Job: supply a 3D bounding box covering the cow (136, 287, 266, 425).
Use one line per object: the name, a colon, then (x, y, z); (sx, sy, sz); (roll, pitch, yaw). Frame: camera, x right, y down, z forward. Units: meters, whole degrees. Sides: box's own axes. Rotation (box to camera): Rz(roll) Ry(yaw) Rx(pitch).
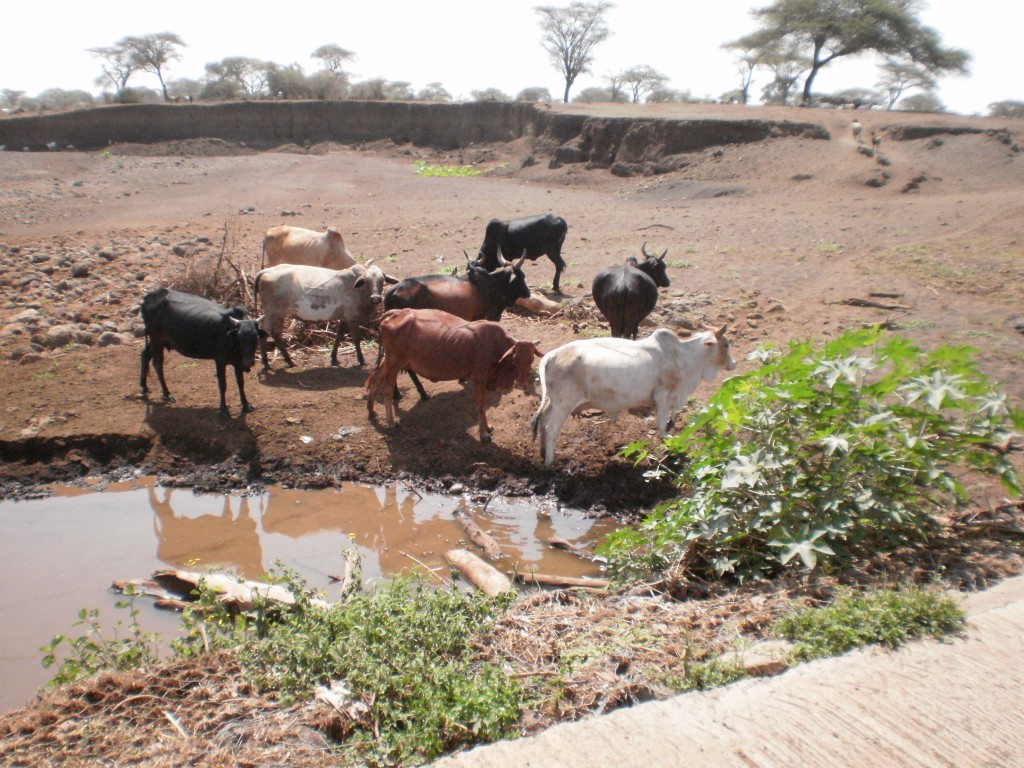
cow: (-3.886, -0.418, 10.982); (1.671, 1.426, 0.514); (8, 19, 16)
